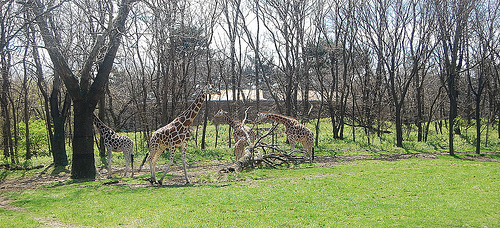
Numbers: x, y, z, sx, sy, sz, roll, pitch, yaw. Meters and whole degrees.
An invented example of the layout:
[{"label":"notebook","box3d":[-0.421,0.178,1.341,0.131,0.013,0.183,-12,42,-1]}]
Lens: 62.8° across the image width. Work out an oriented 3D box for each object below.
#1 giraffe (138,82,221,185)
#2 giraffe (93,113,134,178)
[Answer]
[{"label":"giraffe","box3d":[-7.373,2.076,41.329,6.165,9.586,3.280,-3,8,-8]},{"label":"giraffe","box3d":[-14.274,3.527,43.148,4.021,6.180,2.744,2,8,25]}]
